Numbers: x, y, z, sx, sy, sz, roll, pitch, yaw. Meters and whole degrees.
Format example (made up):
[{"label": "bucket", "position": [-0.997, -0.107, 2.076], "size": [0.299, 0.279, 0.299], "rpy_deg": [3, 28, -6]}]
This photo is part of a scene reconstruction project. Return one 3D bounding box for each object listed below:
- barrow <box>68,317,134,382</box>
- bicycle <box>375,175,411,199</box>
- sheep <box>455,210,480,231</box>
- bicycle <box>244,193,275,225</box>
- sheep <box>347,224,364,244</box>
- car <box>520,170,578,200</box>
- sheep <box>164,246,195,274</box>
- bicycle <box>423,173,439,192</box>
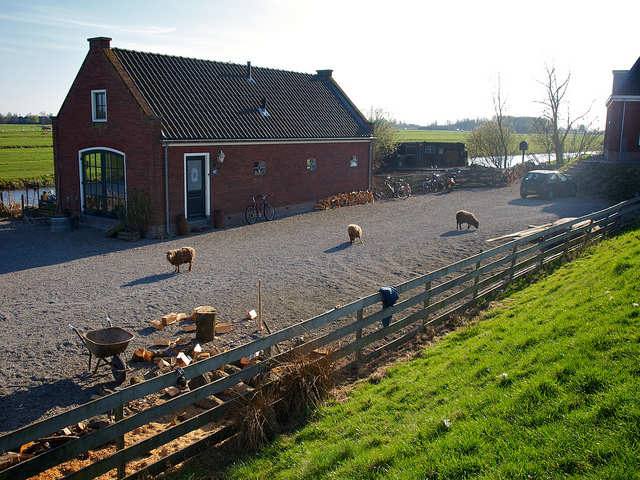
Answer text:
[{"label": "barrow", "position": [-4.645, 2.261, 11.782], "size": [0.822, 0.970, 1.579], "rpy_deg": [-5, 13, -41]}, {"label": "bicycle", "position": [4.473, -3.026, 33.799], "size": [2.130, 1.463, 1.161], "rpy_deg": [8, 26, 12]}, {"label": "sheep", "position": [6.098, -0.838, 23.150], "size": [0.840, 0.799, 1.012], "rpy_deg": [3, 14, 13]}, {"label": "bicycle", "position": [-2.742, -1.458, 25.704], "size": [1.680, 1.127, 0.884], "rpy_deg": [-5, 2, 28]}, {"label": "sheep", "position": [1.347, -0.281, 21.240], "size": [0.557, 0.710, 0.730], "rpy_deg": [1, 13, 3]}, {"label": "car", "position": [13.401, -3.413, 32.813], "size": [3.619, 1.731, 1.894], "rpy_deg": [-15, 20, -38]}, {"label": "sheep", "position": [-4.424, 0.542, 17.359], "size": [0.450, 0.800, 1.282], "rpy_deg": [2, 7, 29]}, {"label": "bicycle", "position": [7.048, -3.621, 35.421], "size": [0.322, 1.034, 1.465], "rpy_deg": [11, 18, 43]}]
